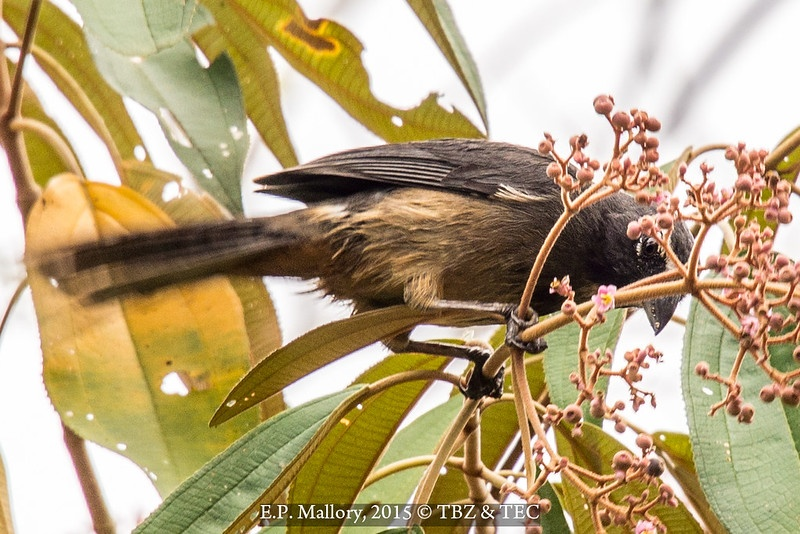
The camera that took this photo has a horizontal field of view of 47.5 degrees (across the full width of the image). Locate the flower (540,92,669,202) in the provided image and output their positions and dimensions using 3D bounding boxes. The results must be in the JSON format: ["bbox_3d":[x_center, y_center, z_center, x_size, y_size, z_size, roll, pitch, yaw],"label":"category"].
[{"bbox_3d":[0.641,-0.326,2.558,0.335,0.291,0.196,19,-25,36],"label":"flower"}]
